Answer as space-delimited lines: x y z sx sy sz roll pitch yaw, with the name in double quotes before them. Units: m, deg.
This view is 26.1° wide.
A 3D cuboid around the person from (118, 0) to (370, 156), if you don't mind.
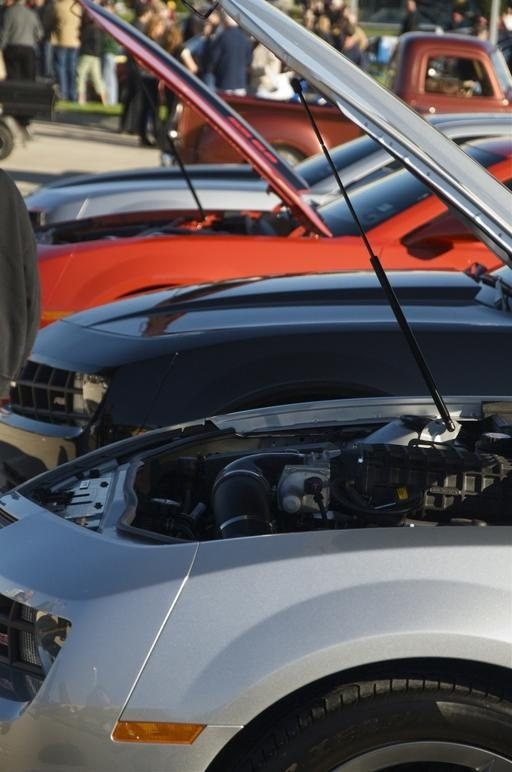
"person" -0.277 -2.449 8.936 2.216 0.630 1.294 -6 23 -16
